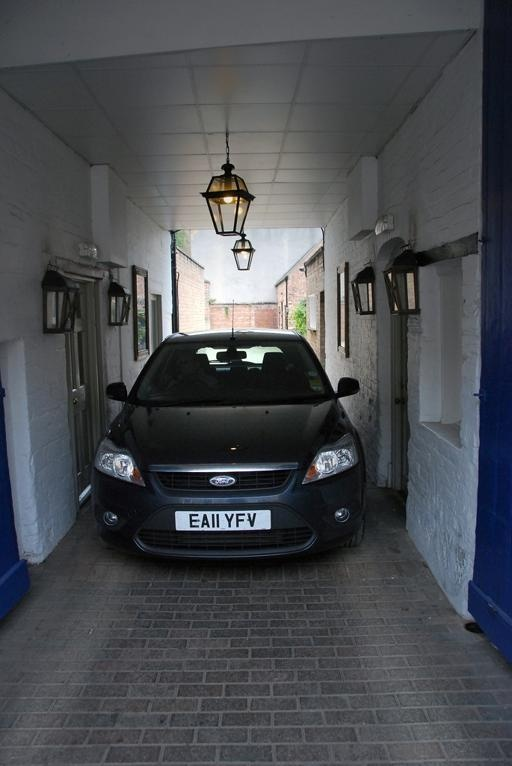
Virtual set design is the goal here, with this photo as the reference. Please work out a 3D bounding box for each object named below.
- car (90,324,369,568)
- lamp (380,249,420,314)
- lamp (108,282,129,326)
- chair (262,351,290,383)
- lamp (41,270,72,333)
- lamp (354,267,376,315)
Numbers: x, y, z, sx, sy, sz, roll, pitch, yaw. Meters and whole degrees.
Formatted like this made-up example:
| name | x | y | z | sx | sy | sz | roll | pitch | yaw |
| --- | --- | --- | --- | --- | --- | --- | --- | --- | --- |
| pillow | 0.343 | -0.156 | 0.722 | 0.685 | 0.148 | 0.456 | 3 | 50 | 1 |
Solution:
| name | x | y | z | sx | sy | sz | roll | pitch | yaw |
| --- | --- | --- | --- | --- | --- | --- | --- | --- | --- |
| car | -0.183 | 0.352 | 3.339 | 1.699 | 1.265 | 1.548 | -1 | -1 | -1 |
| lamp | 0.972 | -0.664 | 3.170 | 0.218 | 0.458 | 0.283 | -1 | -1 | 16 |
| lamp | -1.603 | -0.891 | 5.543 | 0.145 | 0.385 | 0.520 | -2 | 9 | -6 |
| chair | 0.163 | -0.119 | 3.925 | 0.183 | 0.242 | 0.291 | 1 | 42 | 2 |
| lamp | -1.374 | -0.554 | 3.352 | 0.138 | 0.423 | 0.265 | -1 | -1 | 14 |
| lamp | 1.135 | -0.925 | 4.939 | 0.209 | 0.489 | 0.400 | -1 | -1 | 12 |
